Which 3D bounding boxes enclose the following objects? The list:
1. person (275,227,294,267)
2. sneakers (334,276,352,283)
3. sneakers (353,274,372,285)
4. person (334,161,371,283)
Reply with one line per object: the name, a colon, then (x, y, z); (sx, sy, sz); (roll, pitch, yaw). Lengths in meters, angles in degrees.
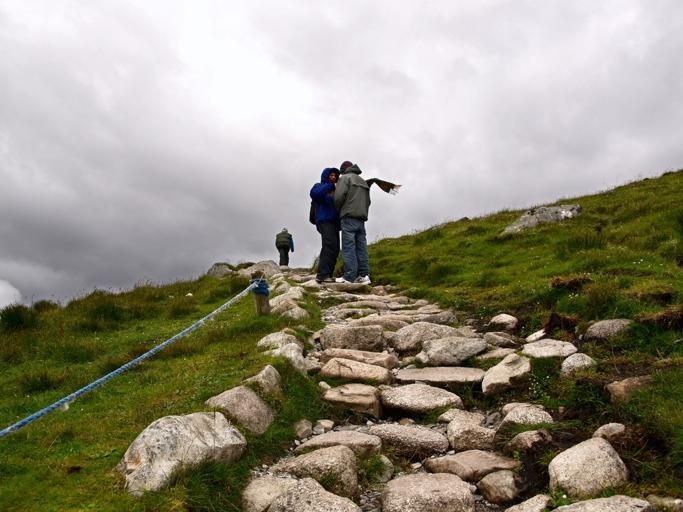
person: (-2.648, -0.334, 24.632); (0.840, 2.080, 0.665); (-2, -22, -4)
sneakers: (0.042, 0.743, 15.937); (0.492, 0.254, 0.193); (9, -3, 7)
sneakers: (0.655, 0.729, 16.037); (0.464, 0.245, 0.216); (-1, -4, 43)
person: (0.312, -1.081, 16.143); (0.976, 3.945, 1.517); (-2, -6, 17)
